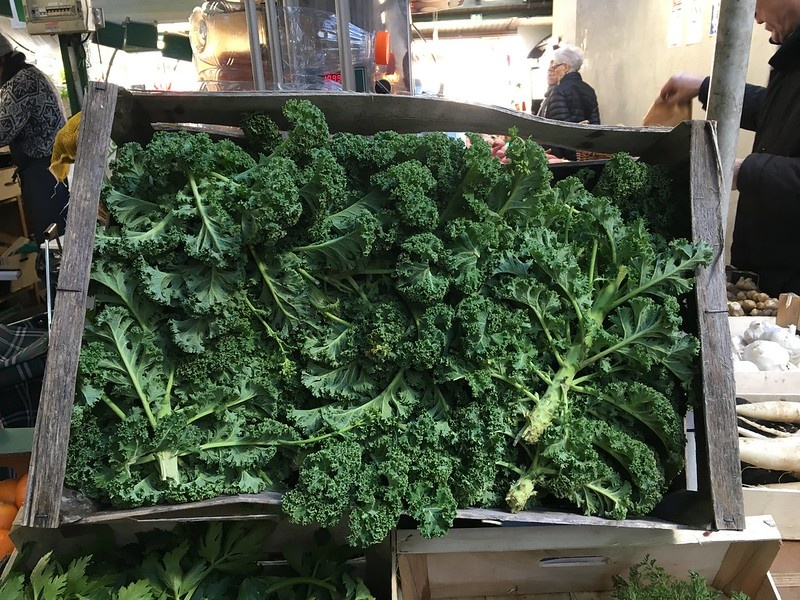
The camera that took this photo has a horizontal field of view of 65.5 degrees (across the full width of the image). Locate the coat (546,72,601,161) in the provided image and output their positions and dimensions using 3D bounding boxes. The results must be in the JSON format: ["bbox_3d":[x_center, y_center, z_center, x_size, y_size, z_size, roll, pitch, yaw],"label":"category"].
[{"bbox_3d":[2.194,-2.510,8.022,0.552,0.921,1.027,23,47,32],"label":"coat"}]
